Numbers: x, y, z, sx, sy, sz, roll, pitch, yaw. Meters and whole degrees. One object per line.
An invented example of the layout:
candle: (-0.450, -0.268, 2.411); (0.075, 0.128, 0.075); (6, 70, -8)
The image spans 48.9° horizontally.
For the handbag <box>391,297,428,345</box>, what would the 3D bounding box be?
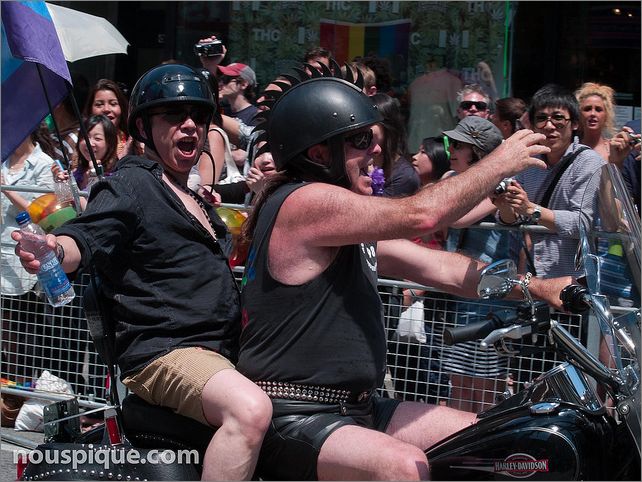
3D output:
handbag: (0.532, 0.478, 4.193); (0.257, 0.294, 0.135); (6, 6, 35)

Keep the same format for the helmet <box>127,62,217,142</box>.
helmet: (-0.658, -0.587, 3.221); (0.388, 0.357, 0.319); (-1, -5, 24)

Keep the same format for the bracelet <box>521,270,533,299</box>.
bracelet: (0.742, 0.164, 2.543); (0.032, 0.107, 0.080); (4, 24, 17)

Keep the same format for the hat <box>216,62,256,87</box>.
hat: (-0.775, -1.510, 6.441); (0.314, 0.153, 0.219); (22, 2, -15)

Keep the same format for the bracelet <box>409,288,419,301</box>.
bracelet: (0.551, 0.324, 4.233); (0.050, 0.057, 0.044); (-22, -12, -41)

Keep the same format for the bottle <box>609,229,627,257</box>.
bottle: (1.066, 0.021, 2.541); (0.059, 0.075, 0.080); (2, -12, 4)

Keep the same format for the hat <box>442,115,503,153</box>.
hat: (1.042, -0.722, 4.764); (0.366, 0.178, 0.267); (22, 7, -17)

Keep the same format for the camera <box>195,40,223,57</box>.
camera: (-1.151, -1.939, 7.213); (0.241, 0.132, 0.169); (-4, 3, -33)

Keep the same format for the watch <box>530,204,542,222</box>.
watch: (1.256, -0.153, 4.102); (0.060, 0.099, 0.097); (15, 5, -7)

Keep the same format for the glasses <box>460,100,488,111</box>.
glasses: (1.323, -1.168, 6.089); (0.121, 0.040, 0.125); (2, -16, 2)
